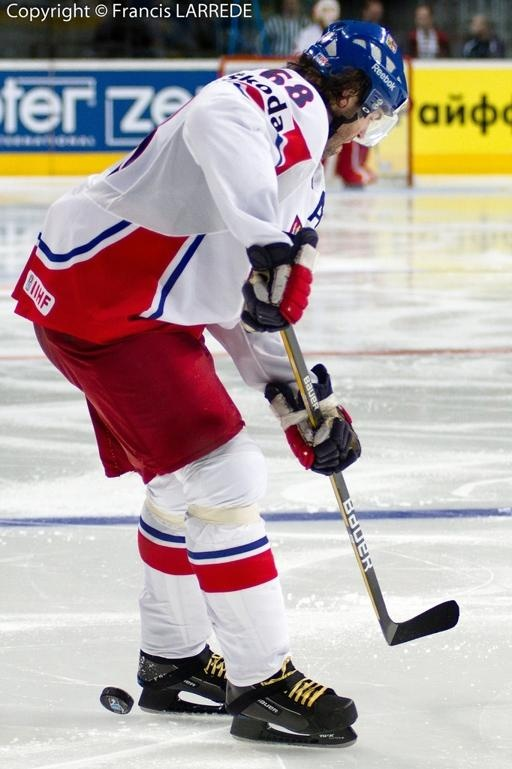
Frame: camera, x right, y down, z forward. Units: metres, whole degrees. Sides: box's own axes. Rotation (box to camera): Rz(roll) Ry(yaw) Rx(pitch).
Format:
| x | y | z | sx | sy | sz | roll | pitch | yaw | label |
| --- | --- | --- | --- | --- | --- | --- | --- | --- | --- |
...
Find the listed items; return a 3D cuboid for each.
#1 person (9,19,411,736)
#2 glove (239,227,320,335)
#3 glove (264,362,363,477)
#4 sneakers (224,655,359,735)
| x | y | z | sx | sy | sz | roll | pitch | yaw | label |
| --- | --- | --- | --- | --- | --- | --- | --- | --- | --- |
| 0.005 | -0.026 | 1.405 | 0.585 | 1.081 | 0.532 | -10 | 12 | -25 | person |
| 0.020 | -0.139 | 1.181 | 0.143 | 0.119 | 0.055 | 0 | 5 | 3 | glove |
| 0.098 | 0.073 | 1.521 | 0.143 | 0.187 | 0.089 | -22 | -23 | -8 | glove |
| 0.057 | 0.458 | 1.350 | 0.243 | 0.113 | 0.076 | -3 | 2 | 17 | sneakers |
